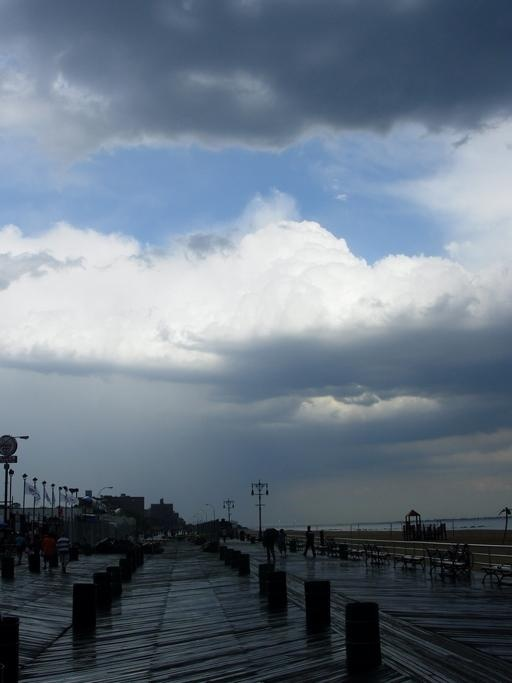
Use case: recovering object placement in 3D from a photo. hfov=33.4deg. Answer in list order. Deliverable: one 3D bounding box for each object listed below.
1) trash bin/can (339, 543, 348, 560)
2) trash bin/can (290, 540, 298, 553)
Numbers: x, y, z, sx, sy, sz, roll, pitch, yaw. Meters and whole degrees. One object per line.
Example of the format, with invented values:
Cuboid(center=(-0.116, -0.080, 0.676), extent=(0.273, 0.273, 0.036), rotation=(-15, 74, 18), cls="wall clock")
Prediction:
Cuboid(center=(3.399, 8.226, 33.034), extent=(0.491, 0.504, 0.474), rotation=(-2, -1, 0), cls="trash bin/can")
Cuboid(center=(1.895, 10.688, 43.915), extent=(0.544, 0.734, 0.526), rotation=(0, -12, 8), cls="trash bin/can")
